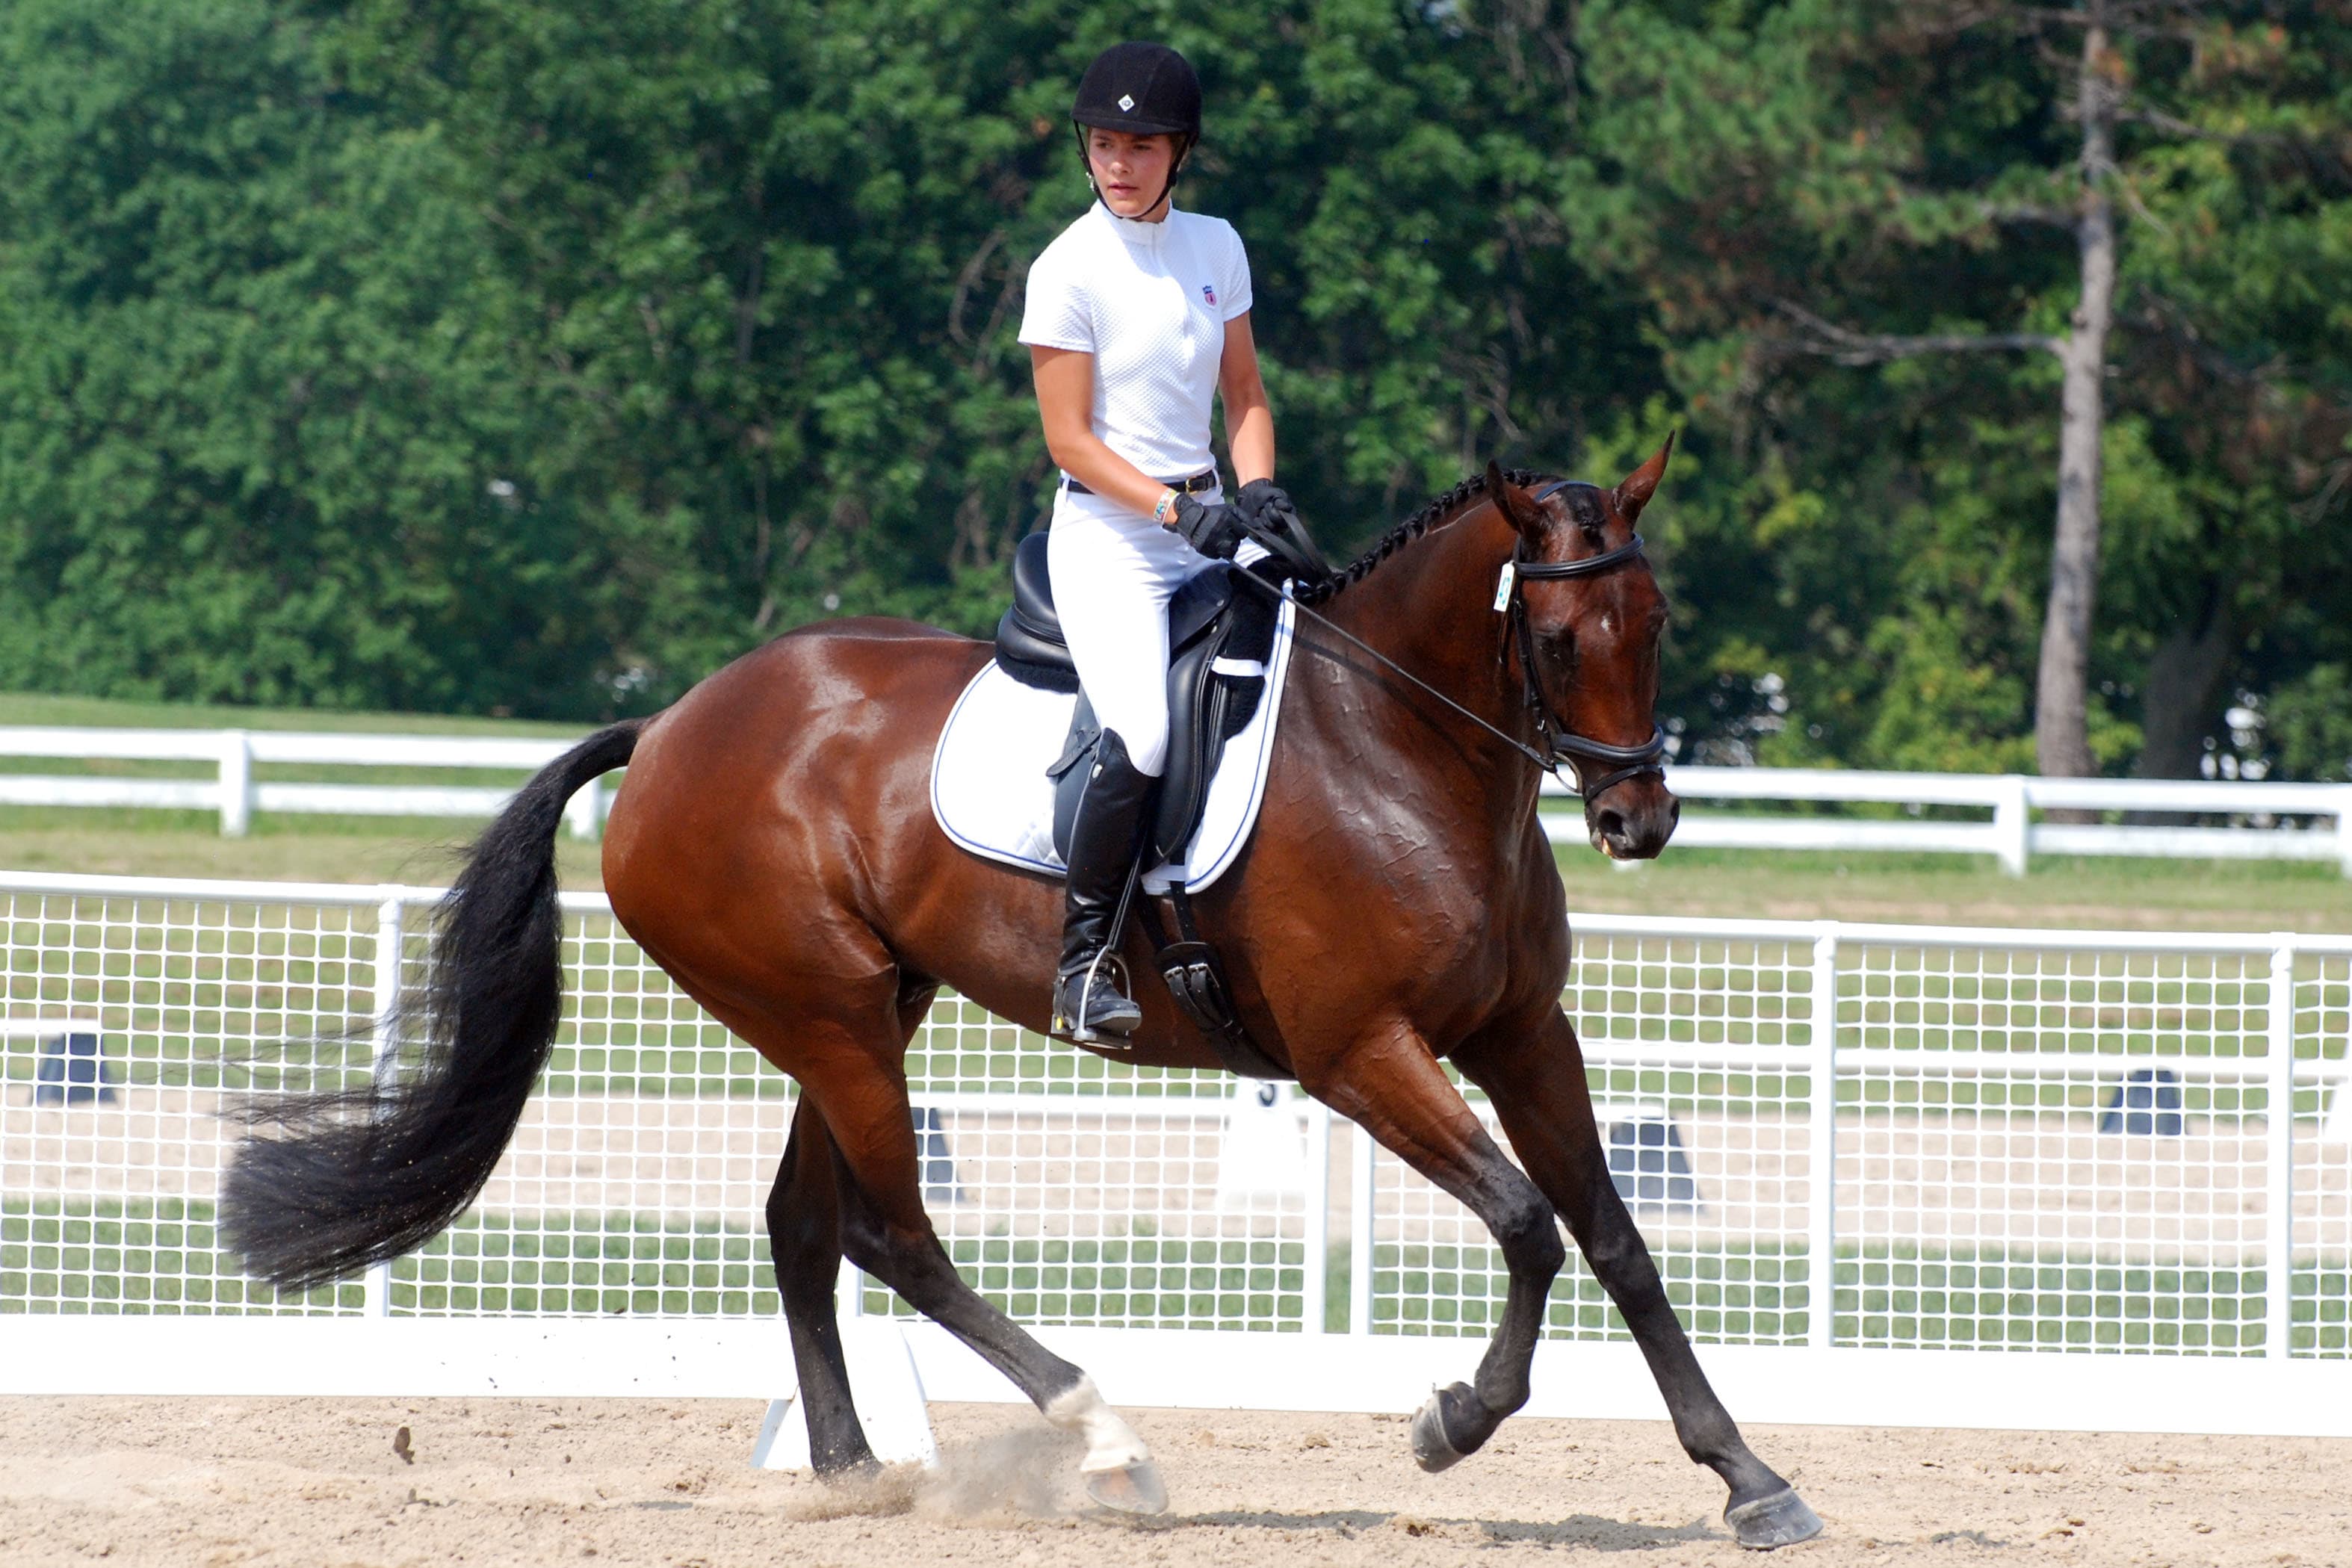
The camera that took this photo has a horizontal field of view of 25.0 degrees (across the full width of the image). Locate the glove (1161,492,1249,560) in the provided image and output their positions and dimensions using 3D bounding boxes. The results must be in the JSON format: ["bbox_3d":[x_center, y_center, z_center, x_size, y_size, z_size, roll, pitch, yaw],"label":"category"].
[{"bbox_3d":[0.250,-2.264,46.156,0.698,0.258,0.518,30,1,35],"label":"glove"}]
